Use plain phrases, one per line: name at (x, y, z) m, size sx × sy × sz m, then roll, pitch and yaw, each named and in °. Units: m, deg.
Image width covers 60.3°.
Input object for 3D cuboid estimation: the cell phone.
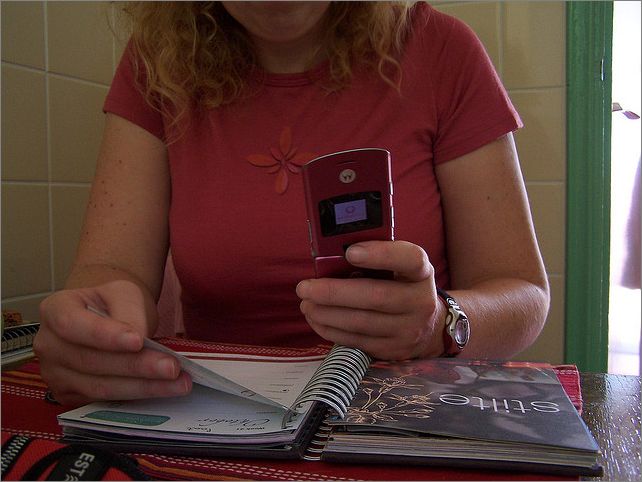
cell phone at (0.037, -0.030, 0.748) m, size 0.113 × 0.157 × 0.097 m, roll -5°, pitch 52°, yaw 1°
